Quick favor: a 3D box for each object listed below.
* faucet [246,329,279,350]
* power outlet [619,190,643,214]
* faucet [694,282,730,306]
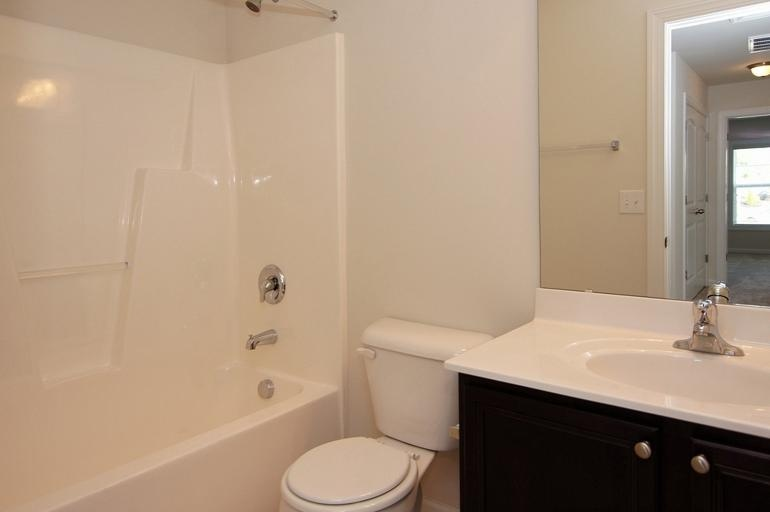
[{"bbox_3d":[-0.669,0.453,2.765,0.191,0.116,0.090,11,-9,-40],"label":"faucet"},{"bbox_3d":[0.960,-0.214,1.967,0.090,0.095,0.012,1,5,23],"label":"power outlet"},{"bbox_3d":[1.202,0.135,1.854,0.123,0.107,0.084,-2,-2,31],"label":"faucet"}]
